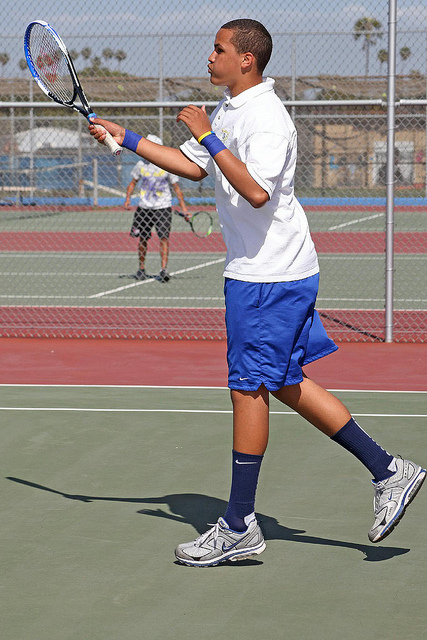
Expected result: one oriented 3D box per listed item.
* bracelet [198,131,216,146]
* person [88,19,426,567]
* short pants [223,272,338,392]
[{"bbox_3d":[-0.025,-0.584,2.304,0.048,0.046,0.057,0,7,-3],"label":"bracelet"},{"bbox_3d":[0.189,-0.101,2.513,1.129,1.855,0.611,1,7,6],"label":"person"},{"bbox_3d":[0.246,0.043,2.492,0.429,0.395,0.204,-5,8,-34],"label":"short pants"}]
